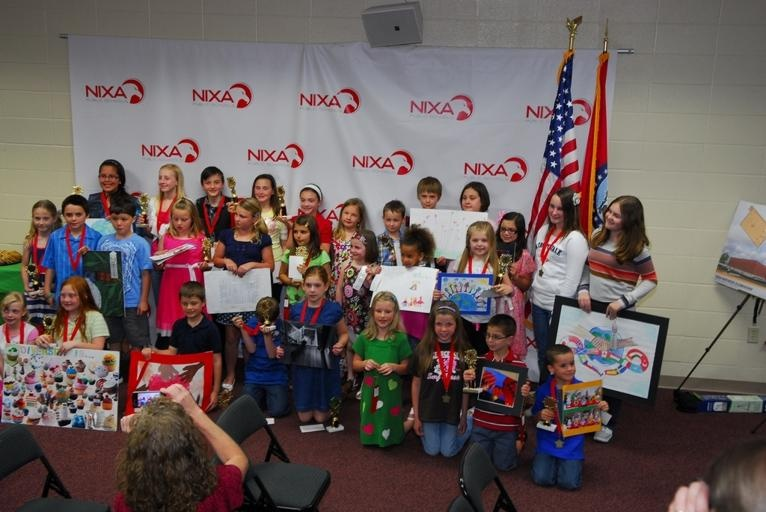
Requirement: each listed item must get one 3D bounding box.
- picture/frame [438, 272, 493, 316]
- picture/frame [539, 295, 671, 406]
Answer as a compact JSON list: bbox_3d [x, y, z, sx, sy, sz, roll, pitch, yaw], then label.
[{"bbox_3d":[0.771,0.357,6.128,0.344,0.286,0.016,1,0,7],"label":"picture/frame"},{"bbox_3d":[1.954,0.857,5.963,0.934,0.756,0.010,8,5,18],"label":"picture/frame"}]
